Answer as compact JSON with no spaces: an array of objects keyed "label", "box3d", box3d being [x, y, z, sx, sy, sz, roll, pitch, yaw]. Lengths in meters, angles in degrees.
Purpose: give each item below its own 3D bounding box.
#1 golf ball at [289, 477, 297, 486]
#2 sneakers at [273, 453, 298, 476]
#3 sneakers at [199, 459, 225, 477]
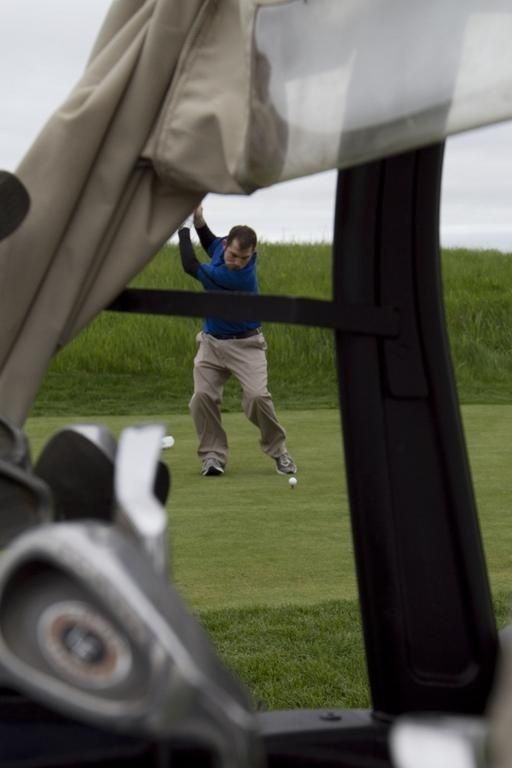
[{"label":"golf ball","box3d":[0.188,0.500,3.124,0.036,0.038,0.029,4,25,-40]},{"label":"sneakers","box3d":[0.149,0.416,3.239,0.061,0.085,0.176,-17,12,-8]},{"label":"sneakers","box3d":[-0.186,0.348,2.512,0.053,0.069,0.143,-2,-17,-1]}]
